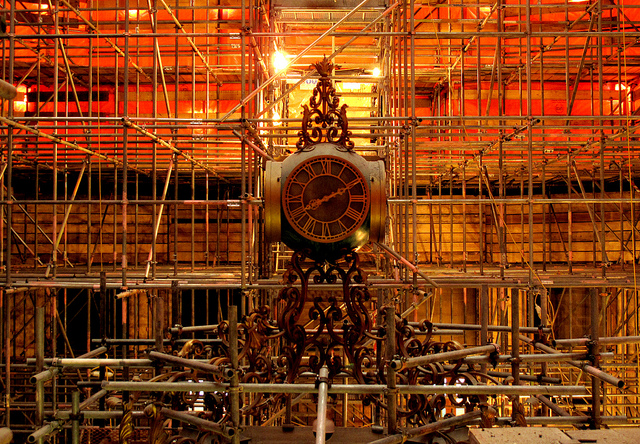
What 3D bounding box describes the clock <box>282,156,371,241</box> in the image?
[{"bbox_3d":[0.154,-0.449,32.910,2.194,1.919,0.189,0,1,-27],"label":"clock"}]
